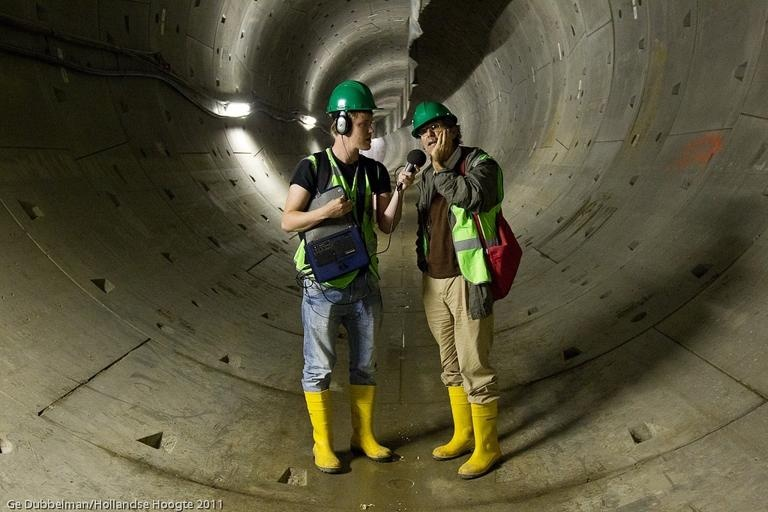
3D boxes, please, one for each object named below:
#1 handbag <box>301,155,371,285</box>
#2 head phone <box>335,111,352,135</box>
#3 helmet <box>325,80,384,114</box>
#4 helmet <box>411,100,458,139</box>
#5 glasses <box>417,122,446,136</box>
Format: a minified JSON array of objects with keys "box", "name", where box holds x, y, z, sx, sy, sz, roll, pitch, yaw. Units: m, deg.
[{"box":[-0.309,-0.239,3.211,0.421,0.777,0.356,-3,17,-7],"name":"handbag"},{"box":[-0.252,-0.826,3.182,0.082,0.162,0.142,-2,5,14],"name":"head phone"},{"box":[-0.199,-1.028,3.275,0.352,0.169,0.279,5,26,24],"name":"helmet"},{"box":[0.296,-0.924,3.331,0.285,0.168,0.331,-16,8,37],"name":"helmet"},{"box":[0.300,-0.801,3.247,0.119,0.030,0.089,-21,-16,7],"name":"glasses"}]
